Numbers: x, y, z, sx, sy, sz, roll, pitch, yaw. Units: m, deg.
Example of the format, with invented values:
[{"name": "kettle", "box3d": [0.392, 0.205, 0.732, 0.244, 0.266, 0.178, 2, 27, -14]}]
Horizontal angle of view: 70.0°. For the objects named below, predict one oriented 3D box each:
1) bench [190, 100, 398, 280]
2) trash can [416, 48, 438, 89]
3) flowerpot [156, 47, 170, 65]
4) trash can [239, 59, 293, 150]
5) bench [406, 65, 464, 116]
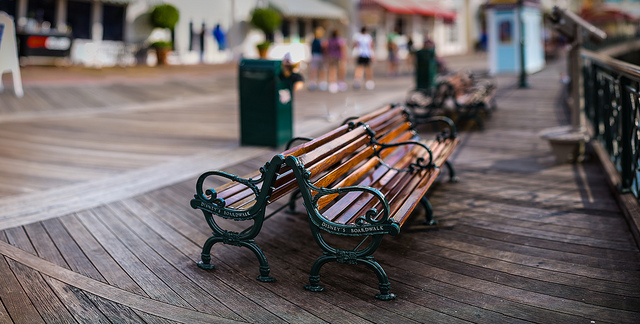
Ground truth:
[{"name": "bench", "box3d": [-0.874, 0.510, 7.235, 1.990, 1.848, 2.448, 10, 23, 37]}, {"name": "trash can", "box3d": [3.536, -3.114, 15.187, 0.620, 1.192, 1.216, 0, 19, 13]}, {"name": "flowerpot", "box3d": [-6.674, -4.547, 19.463, 0.526, 0.759, 1.821, -11, 19, -18]}, {"name": "trash can", "box3d": [-1.296, -1.348, 10.528, 1.194, 1.996, 0.719, 0, 19, 13]}, {"name": "bench", "box3d": [3.436, -2.097, 13.560, 1.320, 1.223, 2.789, 6, 19, 27]}]
